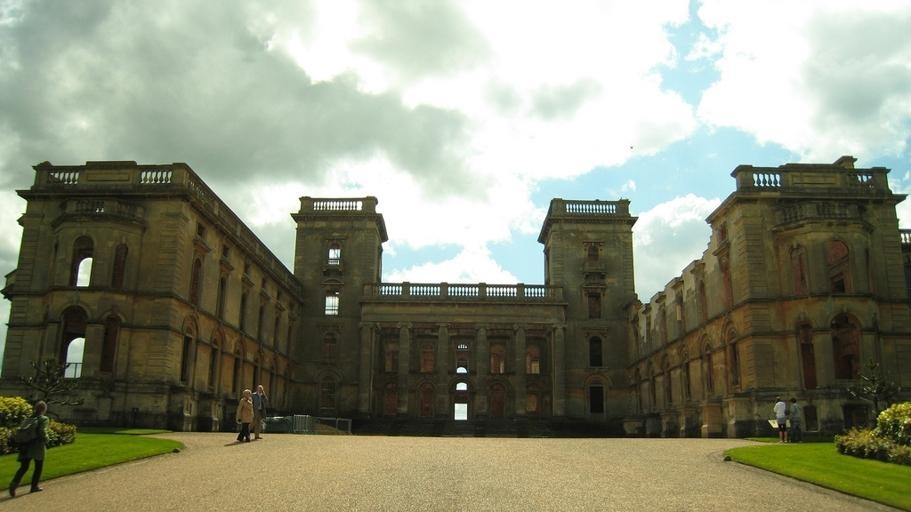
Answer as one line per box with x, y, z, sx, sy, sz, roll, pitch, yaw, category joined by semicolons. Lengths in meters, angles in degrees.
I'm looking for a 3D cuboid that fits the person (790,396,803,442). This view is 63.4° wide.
20.147;9.686;43.935;0.681;2.527;1.169;-8;-18;19;person

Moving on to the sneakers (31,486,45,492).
-17.956;9.993;31.725;0.490;0.187;0.181;0;-5;-12;sneakers
